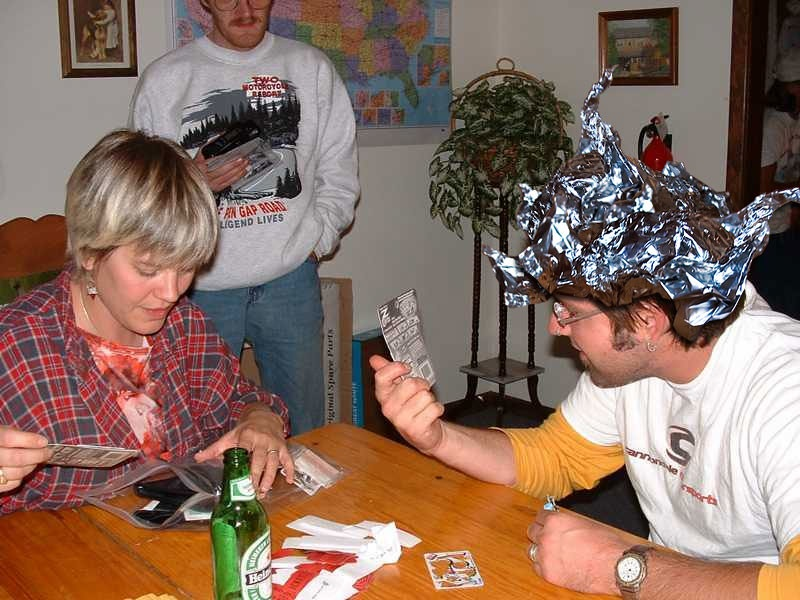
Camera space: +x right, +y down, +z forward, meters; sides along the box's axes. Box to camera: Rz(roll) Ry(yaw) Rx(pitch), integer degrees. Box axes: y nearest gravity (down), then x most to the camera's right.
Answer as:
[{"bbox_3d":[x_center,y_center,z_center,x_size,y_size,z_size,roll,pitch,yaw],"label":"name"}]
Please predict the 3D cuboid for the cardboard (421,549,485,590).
[{"bbox_3d":[0.105,0.547,1.339,0.115,0.013,0.136,2,13,4],"label":"cardboard"}]

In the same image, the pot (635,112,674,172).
[{"bbox_3d":[1.366,-0.803,3.506,0.181,0.374,0.166,-8,25,4],"label":"pot"}]

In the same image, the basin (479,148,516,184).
[{"bbox_3d":[0.535,-0.739,3.619,0.181,0.154,0.192,4,12,-1],"label":"basin"}]

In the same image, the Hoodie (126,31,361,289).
[{"bbox_3d":[-0.586,-0.538,2.468,0.933,0.926,0.503,-14,34,-32],"label":"Hoodie"}]

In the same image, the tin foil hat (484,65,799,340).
[{"bbox_3d":[0.432,-0.152,1.493,0.606,0.542,0.256,30,-8,12],"label":"tin foil hat"}]

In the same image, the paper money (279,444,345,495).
[{"bbox_3d":[-0.226,0.418,1.631,0.089,0.023,0.098,33,41,22],"label":"paper money"}]

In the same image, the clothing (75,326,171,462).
[{"bbox_3d":[-0.681,0.235,1.663,0.198,0.048,0.378,-1,49,-36],"label":"clothing"}]

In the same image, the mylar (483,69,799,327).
[{"bbox_3d":[0.432,-0.129,1.481,0.628,0.453,0.251,37,-16,15],"label":"mylar"}]
